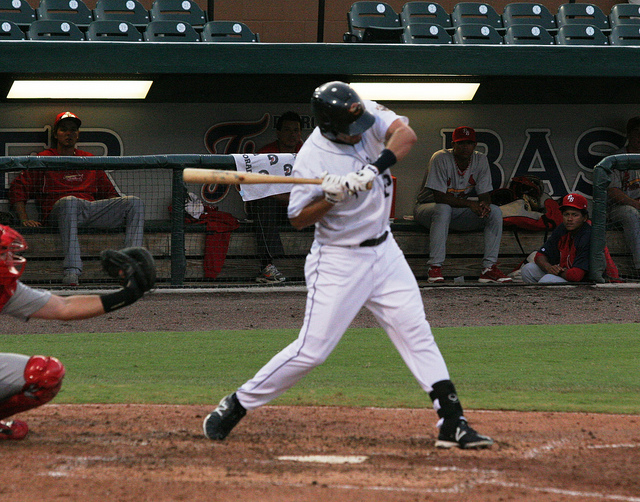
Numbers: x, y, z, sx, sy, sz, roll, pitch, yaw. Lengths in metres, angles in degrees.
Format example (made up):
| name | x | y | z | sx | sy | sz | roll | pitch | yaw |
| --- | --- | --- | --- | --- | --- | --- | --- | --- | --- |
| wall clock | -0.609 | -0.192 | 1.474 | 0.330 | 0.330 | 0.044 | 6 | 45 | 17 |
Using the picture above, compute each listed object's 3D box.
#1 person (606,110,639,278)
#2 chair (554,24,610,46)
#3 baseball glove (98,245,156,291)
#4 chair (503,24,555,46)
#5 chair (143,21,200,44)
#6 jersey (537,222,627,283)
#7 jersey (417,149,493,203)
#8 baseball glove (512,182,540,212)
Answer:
| name | x | y | z | sx | sy | sz | roll | pitch | yaw |
| --- | --- | --- | --- | --- | --- | --- | --- | --- | --- |
| person | 2.796 | -0.515 | 10.120 | 0.344 | 1.434 | 1.067 | 4 | 7 | 16 |
| chair | 2.710 | -2.241 | 11.489 | 0.671 | 0.170 | 0.176 | -1 | 32 | -6 |
| baseball glove | -1.178 | 0.112 | 6.766 | 0.290 | 0.262 | 0.158 | 4 | 7 | 20 |
| chair | 2.183 | -2.231 | 11.388 | 0.553 | 0.241 | 0.510 | 1 | 5 | 1 |
| chair | -1.477 | -2.133 | 10.814 | 0.698 | 0.203 | 0.181 | -1 | 12 | -10 |
| jersey | 2.275 | 0.006 | 9.641 | 0.492 | 0.515 | 0.657 | -22 | 25 | -33 |
| jersey | 1.363 | -0.645 | 10.043 | 0.749 | 0.452 | 0.495 | 10 | 2 | 29 |
| baseball glove | 1.988 | -0.526 | 10.652 | 0.343 | 0.263 | 0.304 | 7 | 6 | 39 |
